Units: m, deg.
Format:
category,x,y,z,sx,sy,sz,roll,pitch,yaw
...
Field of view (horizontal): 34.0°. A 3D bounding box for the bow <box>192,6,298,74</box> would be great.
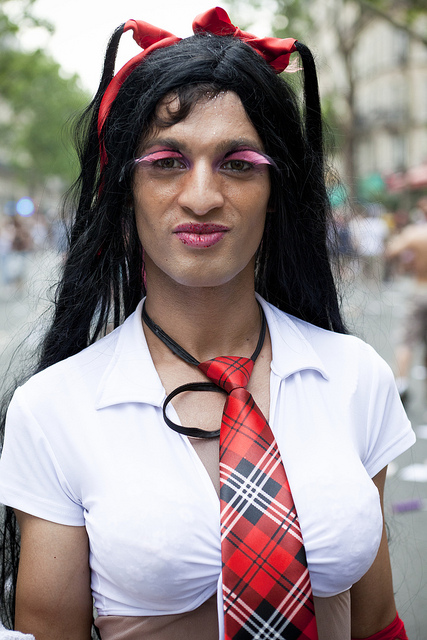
category,x,y,z,sx,sy,sz,roll,pitch,yaw
bow,0.075,-0.677,1.728,0.253,0.180,0.217,-4,6,7
